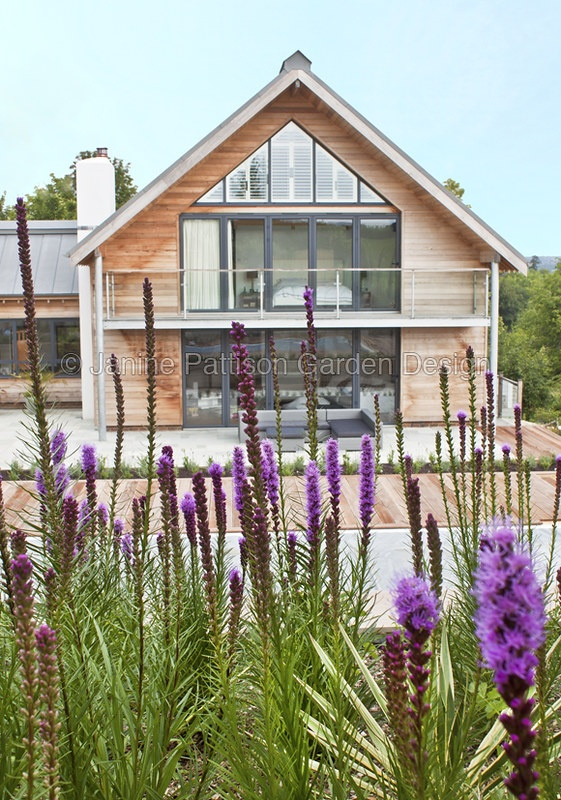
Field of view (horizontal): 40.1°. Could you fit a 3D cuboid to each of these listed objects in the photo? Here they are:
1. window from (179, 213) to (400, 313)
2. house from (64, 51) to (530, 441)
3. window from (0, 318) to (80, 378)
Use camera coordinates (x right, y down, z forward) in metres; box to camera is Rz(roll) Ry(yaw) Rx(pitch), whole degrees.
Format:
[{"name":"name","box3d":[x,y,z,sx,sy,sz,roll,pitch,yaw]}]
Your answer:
[{"name":"window","box3d":[0.178,-2.837,15.919,4.534,2.006,0.351,-2,11,-12]},{"name":"house","box3d":[-0.001,-3.171,18.302,9.656,6.855,10.684,-1,6,-11]},{"name":"window","box3d":[-4.855,-1.140,15.848,1.913,1.256,0.076,0,4,11]}]
